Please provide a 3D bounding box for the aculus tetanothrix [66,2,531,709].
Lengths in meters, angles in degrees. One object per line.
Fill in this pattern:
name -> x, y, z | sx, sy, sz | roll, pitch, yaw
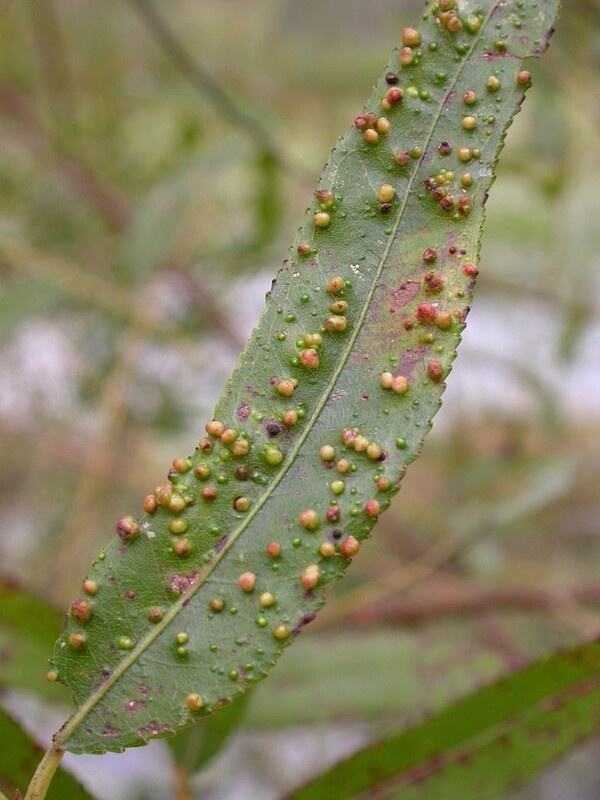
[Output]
aculus tetanothrix -> 0.043, -0.002, 1.449 | 0.399, 1.191, 0.099 | 31, -1, 7
